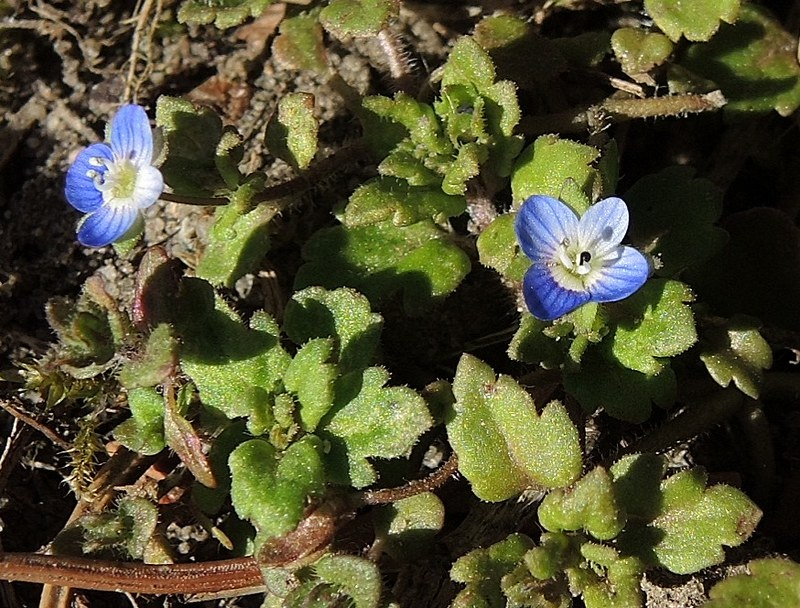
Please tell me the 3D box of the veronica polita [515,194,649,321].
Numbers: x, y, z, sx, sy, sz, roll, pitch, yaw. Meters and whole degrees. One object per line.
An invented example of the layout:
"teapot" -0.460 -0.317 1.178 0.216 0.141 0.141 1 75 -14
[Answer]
"veronica polita" 0.438 -0.117 2.075 0.368 0.294 0.143 -10 6 -3
